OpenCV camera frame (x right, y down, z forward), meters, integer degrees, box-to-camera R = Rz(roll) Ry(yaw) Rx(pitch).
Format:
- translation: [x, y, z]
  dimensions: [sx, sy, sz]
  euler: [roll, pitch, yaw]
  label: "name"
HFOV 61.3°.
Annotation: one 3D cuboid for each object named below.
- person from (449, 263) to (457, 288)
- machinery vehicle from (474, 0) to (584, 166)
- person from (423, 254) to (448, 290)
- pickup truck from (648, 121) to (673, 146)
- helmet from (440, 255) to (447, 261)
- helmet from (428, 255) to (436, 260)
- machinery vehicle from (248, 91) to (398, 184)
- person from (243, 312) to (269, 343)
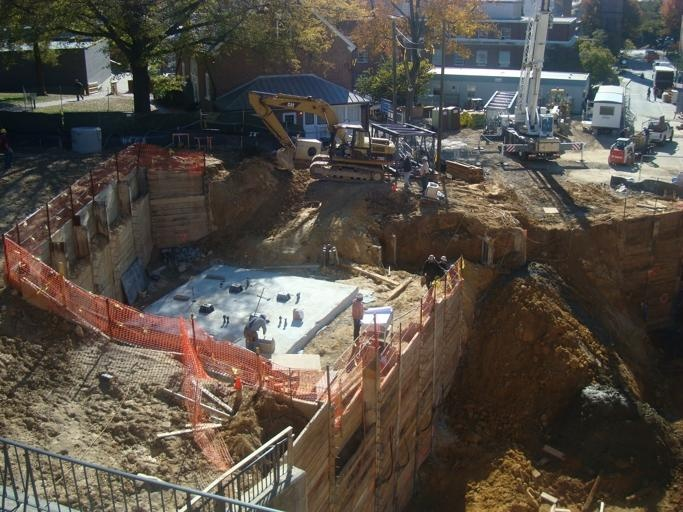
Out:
- translation: [4.813, 0.824, 24.768]
  dimensions: [0.267, 0.966, 1.259]
  euler: [4, 19, 16]
  label: "person"
- translation: [13.780, -13.076, 42.734]
  dimensions: [5.539, 10.561, 9.743]
  euler: [3, 18, 11]
  label: "machinery vehicle"
- translation: [4.010, 0.730, 24.602]
  dimensions: [0.988, 1.865, 0.601]
  euler: [8, 34, 3]
  label: "person"
- translation: [25.456, -9.777, 46.156]
  dimensions: [1.286, 1.316, 2.214]
  euler: [24, 59, 42]
  label: "pickup truck"
- translation: [4.596, 0.107, 25.953]
  dimensions: [0.190, 0.180, 0.215]
  euler: [3, -11, 4]
  label: "helmet"
- translation: [4.045, 0.060, 25.878]
  dimensions: [0.170, 0.166, 0.409]
  euler: [-3, 12, 12]
  label: "helmet"
- translation: [-1.173, -6.432, 31.976]
  dimensions: [7.537, 5.299, 3.231]
  euler: [2, 3, -3]
  label: "machinery vehicle"
- translation: [-3.035, 2.580, 20.468]
  dimensions: [0.565, 0.566, 1.463]
  euler: [-10, 15, 8]
  label: "person"
